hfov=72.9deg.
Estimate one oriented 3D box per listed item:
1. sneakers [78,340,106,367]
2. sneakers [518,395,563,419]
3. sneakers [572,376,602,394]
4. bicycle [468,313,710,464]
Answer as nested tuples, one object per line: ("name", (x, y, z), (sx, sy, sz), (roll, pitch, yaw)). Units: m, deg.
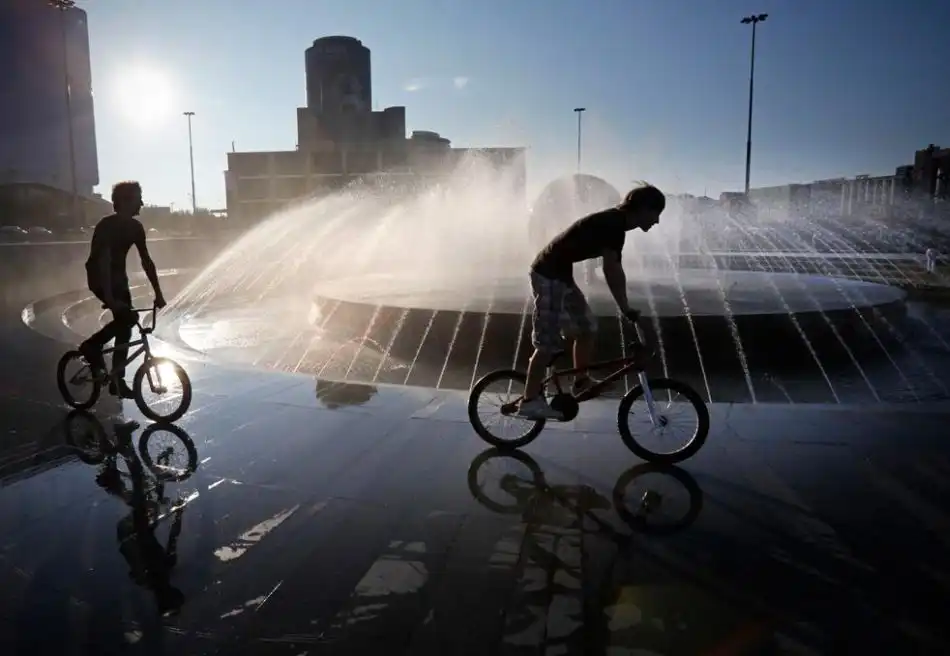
("sneakers", (-3.724, 0.248, 6.237), (0.169, 0.234, 0.125), (-30, 25, -25))
("sneakers", (0.534, 0.671, 5.494), (0.440, 0.209, 0.148), (1, 6, -3))
("sneakers", (0.980, 0.455, 5.464), (0.274, 0.121, 0.118), (-22, 13, -28))
("bicycle", (0.961, 0.492, 5.777), (2.044, 1.325, 1.035), (1, 3, 12))
